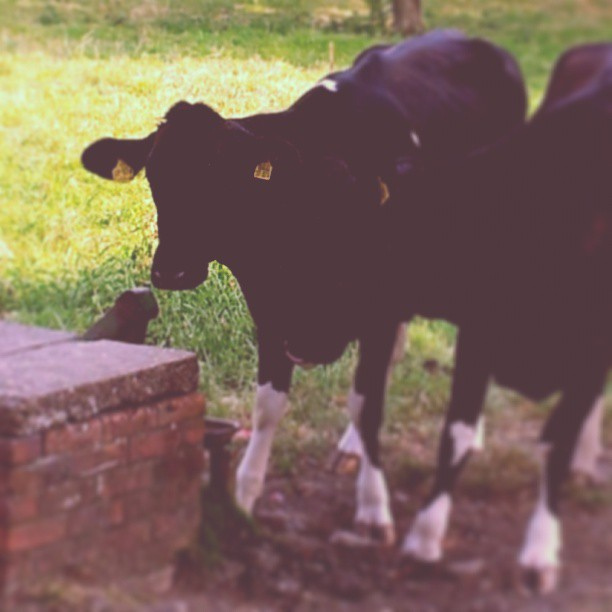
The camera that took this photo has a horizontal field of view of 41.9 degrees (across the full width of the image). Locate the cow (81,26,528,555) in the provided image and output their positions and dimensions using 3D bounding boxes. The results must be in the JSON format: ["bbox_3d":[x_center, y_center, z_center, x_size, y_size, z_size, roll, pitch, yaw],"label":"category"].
[{"bbox_3d":[0.309,-0.133,3.530,0.921,1.849,2.812,8,21,32],"label":"cow"}]
